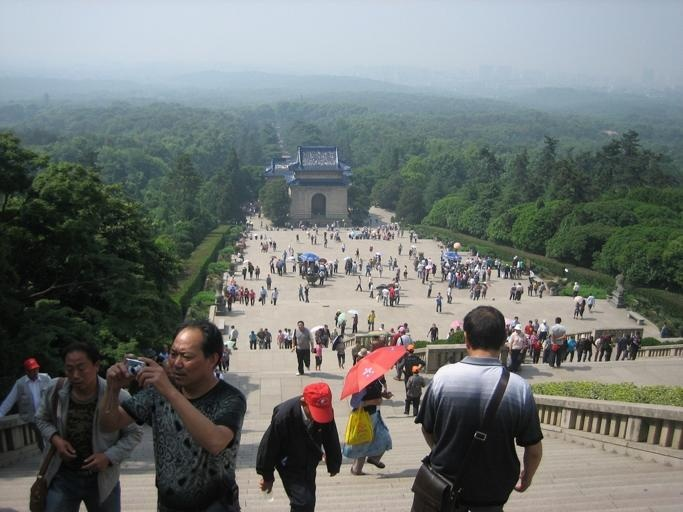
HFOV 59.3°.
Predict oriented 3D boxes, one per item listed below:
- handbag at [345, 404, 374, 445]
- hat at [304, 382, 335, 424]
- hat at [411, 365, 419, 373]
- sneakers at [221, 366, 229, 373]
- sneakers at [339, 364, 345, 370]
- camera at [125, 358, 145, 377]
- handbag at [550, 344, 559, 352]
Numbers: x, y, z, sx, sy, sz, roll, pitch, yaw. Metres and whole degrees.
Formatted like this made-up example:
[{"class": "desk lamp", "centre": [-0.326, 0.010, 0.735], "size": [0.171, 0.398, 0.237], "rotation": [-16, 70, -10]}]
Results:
[{"class": "handbag", "centre": [0.240, 2.254, 7.973], "size": [0.356, 0.501, 0.294], "rotation": [1, 12, 2]}, {"class": "hat", "centre": [-0.255, 1.484, 6.245], "size": [0.275, 0.173, 0.436], "rotation": [-13, 60, -19]}, {"class": "hat", "centre": [1.420, 2.151, 11.584], "size": [0.103, 0.130, 0.133], "rotation": [14, 44, 13]}, {"class": "sneakers", "centre": [-3.553, 3.445, 18.292], "size": [0.254, 0.099, 0.355], "rotation": [2, 5, 22]}, {"class": "sneakers", "centre": [0.002, 3.525, 19.153], "size": [0.199, 0.086, 0.244], "rotation": [-2, -2, 9]}, {"class": "camera", "centre": [-1.507, 0.800, 4.365], "size": [0.129, 0.105, 0.139], "rotation": [6, -6, -7]}, {"class": "handbag", "centre": [5.661, 2.424, 15.981], "size": [0.174, 0.186, 0.190], "rotation": [1, 5, 6]}]
